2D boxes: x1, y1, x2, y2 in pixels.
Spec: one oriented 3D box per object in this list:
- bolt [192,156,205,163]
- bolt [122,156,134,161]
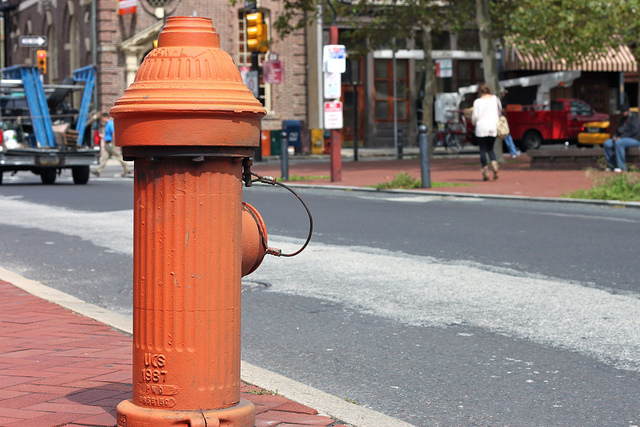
[{"bbox_3d":[-1.500,-0.659,16.452,0.146,0.076,0.036,-3,4,-12],"label":"bolt"},{"bbox_3d":[-2.385,-0.672,16.591,0.070,0.053,0.072,0,1,19],"label":"bolt"}]
